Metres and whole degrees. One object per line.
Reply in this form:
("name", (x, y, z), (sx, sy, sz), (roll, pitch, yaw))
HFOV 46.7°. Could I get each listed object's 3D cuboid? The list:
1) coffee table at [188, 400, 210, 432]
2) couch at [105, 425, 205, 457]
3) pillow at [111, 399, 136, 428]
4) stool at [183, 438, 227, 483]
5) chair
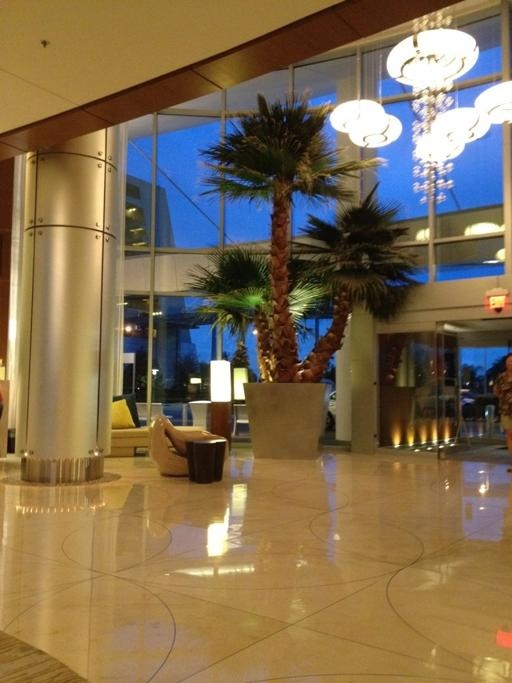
("coffee table", (-0.950, 1.232, 9.997), (0.430, 0.478, 0.424), (4, -7, -36))
("couch", (-1.698, 1.353, 8.221), (1.222, 0.425, 0.779), (0, -1, -3))
("pillow", (-1.881, 1.037, 8.461), (0.325, 0.402, 0.566), (2, -5, -11))
("stool", (-0.508, 1.198, 5.951), (0.391, 0.421, 0.410), (2, -6, -7))
("chair", (-0.727, 1.130, 6.493), (0.853, 0.650, 0.611), (-1, -1, -18))
